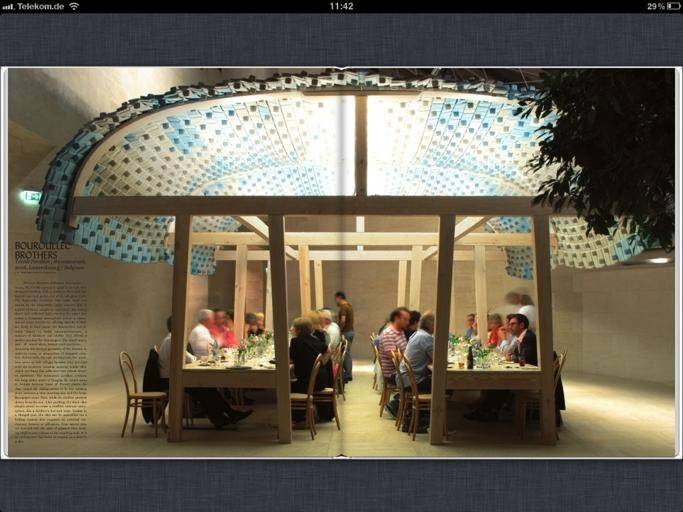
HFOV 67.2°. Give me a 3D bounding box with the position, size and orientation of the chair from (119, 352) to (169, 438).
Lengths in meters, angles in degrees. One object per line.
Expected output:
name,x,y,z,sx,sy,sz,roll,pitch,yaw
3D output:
chair,-2.773,1.858,7.238,0.624,1.133,1.689,2,-5,-23

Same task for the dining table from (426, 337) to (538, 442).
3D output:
dining table,1.884,1.567,6.885,1.620,0.907,1.154,0,-9,1

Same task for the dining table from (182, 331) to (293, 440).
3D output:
dining table,-1.220,1.604,6.492,1.225,1.397,0.437,-1,-4,15
